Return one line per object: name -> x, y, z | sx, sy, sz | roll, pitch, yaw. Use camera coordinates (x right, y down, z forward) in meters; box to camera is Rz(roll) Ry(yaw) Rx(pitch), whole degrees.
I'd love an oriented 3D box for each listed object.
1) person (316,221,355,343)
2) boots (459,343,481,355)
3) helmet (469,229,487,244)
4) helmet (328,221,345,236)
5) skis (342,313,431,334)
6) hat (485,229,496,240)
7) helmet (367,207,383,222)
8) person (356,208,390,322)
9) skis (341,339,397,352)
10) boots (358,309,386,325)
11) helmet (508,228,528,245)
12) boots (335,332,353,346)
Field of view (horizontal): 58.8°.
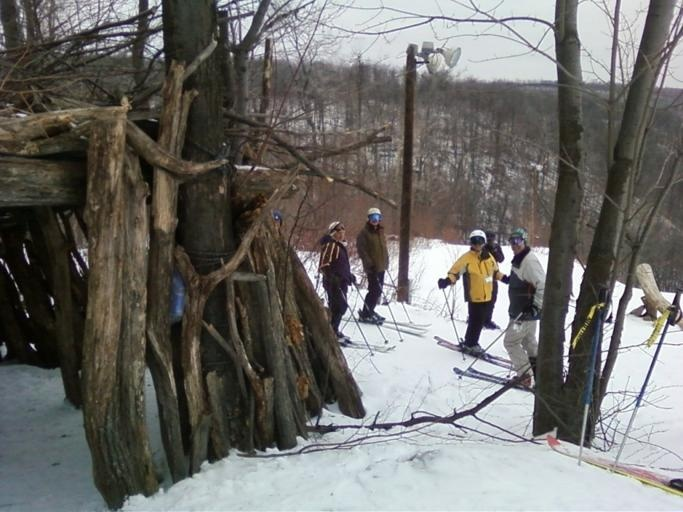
person -> -0.069, 0.421, 10.288 | 0.613, 1.930, 1.388 | -1, 10, -1
boots -> 2.129, 1.540, 9.950 | 0.397, 0.192, 0.141 | 7, 0, 11
helmet -> 2.265, -0.323, 10.057 | 0.205, 0.187, 0.338 | -2, -9, 15
helmet -> -0.089, -0.498, 10.455 | 0.244, 0.277, 0.315 | -4, -8, -36
skis -> 0.790, 1.264, 11.201 | 0.904, 0.116, 0.261 | 11, 26, 15
hat -> 2.657, -0.373, 10.779 | 0.149, 0.148, 0.258 | 2, 13, 5
helmet -> 0.618, -0.795, 11.304 | 0.250, 0.189, 0.362 | 1, -13, -2
person -> 0.551, 0.190, 11.215 | 0.553, 2.093, 0.953 | 1, 10, 8
skis -> 0.424, 1.481, 9.964 | 1.058, 0.199, 0.124 | 6, -24, 2
boots -> 0.531, 1.156, 11.210 | 0.559, 0.267, 0.197 | 2, 22, 11
helmet -> 2.711, -0.292, 9.272 | 0.232, 0.187, 0.342 | 2, 18, 11
boots -> 0.038, 1.379, 10.035 | 0.145, 0.205, 0.443 | -3, 2, -35
